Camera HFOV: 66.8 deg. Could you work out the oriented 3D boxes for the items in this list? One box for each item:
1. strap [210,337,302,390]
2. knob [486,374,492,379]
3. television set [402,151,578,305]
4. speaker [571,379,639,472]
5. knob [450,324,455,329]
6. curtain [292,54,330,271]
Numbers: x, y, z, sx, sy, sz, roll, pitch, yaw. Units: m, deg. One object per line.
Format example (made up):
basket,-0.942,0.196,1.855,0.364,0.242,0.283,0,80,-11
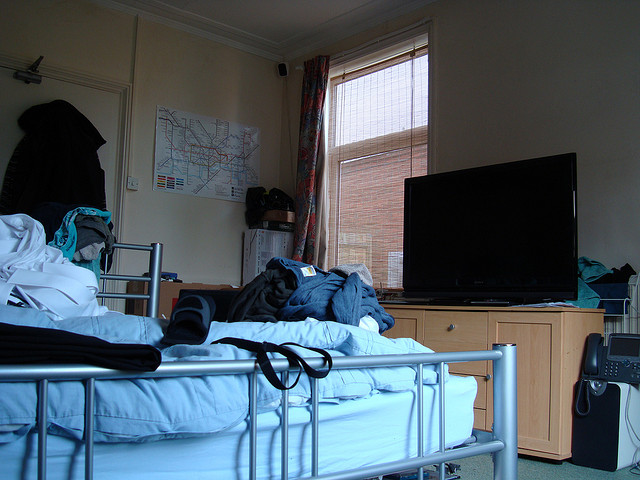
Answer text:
strap,-0.129,0.276,1.111,0.230,0.051,0.123,13,10,8
knob,0.872,0.695,2.495,0.021,0.020,0.005,2,-17,43
television set,1.024,-0.029,3.011,0.301,0.833,1.157,8,-9,-39
speaker,1.410,0.881,2.319,0.337,0.410,0.131,4,-4,-1
knob,0.743,0.478,2.709,0.025,0.024,0.008,2,-4,32
curtain,-0.046,-0.708,4.345,0.337,1.912,0.200,4,-4,5
